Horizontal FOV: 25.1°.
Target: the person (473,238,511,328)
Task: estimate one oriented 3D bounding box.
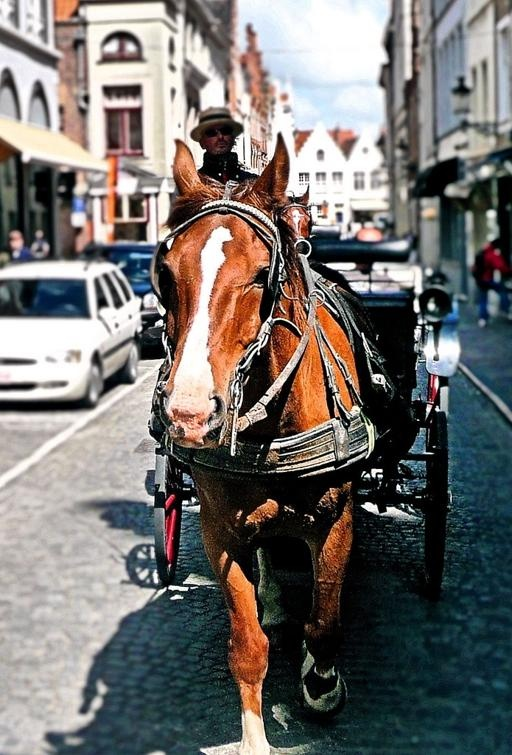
[{"bbox_3d":[3.717,-1.515,18.029,0.642,1.261,2.277,4,10,10],"label":"person"}]

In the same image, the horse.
[{"bbox_3d":[0.006,0.270,3.449,0.507,1.929,1.524,5,10,15],"label":"horse"}]
